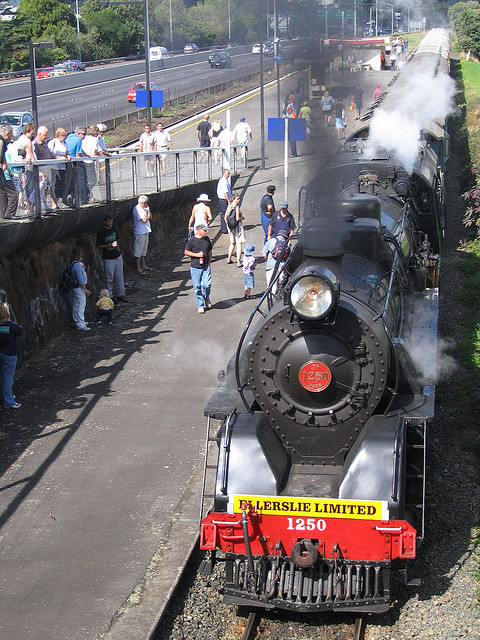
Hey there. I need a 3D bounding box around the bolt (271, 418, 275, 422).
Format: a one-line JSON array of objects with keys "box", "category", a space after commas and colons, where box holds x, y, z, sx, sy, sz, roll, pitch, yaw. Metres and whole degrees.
[{"box": [0.275, 0.833, 5.859, 0.030, 0.039, 0.003, 5, 23, 23], "category": "bolt"}]

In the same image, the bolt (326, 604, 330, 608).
[{"box": [0.629, 2.033, 5.002, 0.022, 0.017, 0.014, -2, 21, 5], "category": "bolt"}]

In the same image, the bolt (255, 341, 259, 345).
[{"box": [0.137, 0.188, 5.803, 0.020, 0.023, 0.020, -1, 31, 7], "category": "bolt"}]

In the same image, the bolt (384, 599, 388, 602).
[{"box": [1.048, 2.001, 5.013, 0.022, 0.017, 0.012, -3, 21, 3], "category": "bolt"}]

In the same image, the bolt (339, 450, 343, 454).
[{"box": [0.832, 1.076, 5.742, 0.030, 0.017, 0.030, 12, -19, -3], "category": "bolt"}]

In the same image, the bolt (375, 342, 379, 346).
[{"box": [1.080, 0.187, 5.502, 0.023, 0.013, 0.023, -9, 19, -25], "category": "bolt"}]

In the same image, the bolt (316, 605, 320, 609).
[{"box": [0.560, 2.041, 5.003, 0.017, 0.019, 0.018, -1, 21, 9], "category": "bolt"}]

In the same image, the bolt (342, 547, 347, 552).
[{"box": [0.766, 1.680, 5.150, 0.026, 0.046, 0.025, 4, 56, 6], "category": "bolt"}]

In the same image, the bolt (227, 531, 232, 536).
[{"box": [-0.080, 1.607, 5.293, 0.029, 0.035, 0.010, 0, 21, 10], "category": "bolt"}]

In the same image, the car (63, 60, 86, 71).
[{"box": [-15.692, -24.176, 66.515, 1.178, 1.042, 2.040, 8, 25, 11], "category": "car"}]

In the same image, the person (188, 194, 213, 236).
[{"box": [-0.888, -2.106, 15.570, 0.542, 1.323, 0.407, 7, 17, 8], "category": "person"}]

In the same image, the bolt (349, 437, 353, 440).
[{"box": [0.902, 0.959, 5.693, 0.024, 0.016, 0.014, -6, 0, 5], "category": "bolt"}]

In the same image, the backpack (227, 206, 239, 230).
[{"box": [-0.172, -2.280, 15.671, 0.328, 0.609, 0.443, -4, 13, 0], "category": "backpack"}]

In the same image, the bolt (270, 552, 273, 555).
[{"box": [0.237, 1.754, 5.282, 0.019, 0.014, 0.007, -3, 21, 3], "category": "bolt"}]

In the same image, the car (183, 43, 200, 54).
[{"box": [-6.197, -34.294, 89.370, 1.478, 1.175, 3.276, 4, 41, 8], "category": "car"}]

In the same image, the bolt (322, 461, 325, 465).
[{"box": [0.697, 1.184, 5.828, 0.016, 0.030, 0.003, -4, 21, 0], "category": "bolt"}]

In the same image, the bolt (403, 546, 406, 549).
[{"box": [1.172, 1.612, 4.982, 0.019, 0.017, 0.012, -5, 21, -4], "category": "bolt"}]

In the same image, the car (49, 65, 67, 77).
[{"box": [-16.365, -22.137, 63.199, 1.242, 1.117, 2.160, 1, 27, 2], "category": "car"}]

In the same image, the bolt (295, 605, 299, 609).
[{"box": [0.410, 2.046, 5.025, 0.029, 0.013, 0.014, 3, 22, 18], "category": "bolt"}]

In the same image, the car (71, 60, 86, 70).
[{"box": [-15.448, -24.041, 66.354, 0.933, 0.812, 1.573, 14, 27, 27], "category": "car"}]

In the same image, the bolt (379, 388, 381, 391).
[{"box": [1.108, 0.544, 5.533, 0.019, 0.019, 0.019, 2, 26, 9], "category": "bolt"}]

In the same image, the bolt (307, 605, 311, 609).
[{"box": [0.494, 2.042, 5.001, 0.018, 0.019, 0.020, 3, -4, 7], "category": "bolt"}]

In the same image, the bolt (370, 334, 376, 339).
[{"box": [1.046, 0.127, 5.502, 0.044, 0.027, 0.029, -16, 17, -17], "category": "bolt"}]

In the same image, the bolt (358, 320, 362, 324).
[{"box": [0.943, 0.016, 5.505, 0.020, 0.019, 0.019, -6, 29, -12], "category": "bolt"}]

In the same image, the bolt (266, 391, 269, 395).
[{"box": [0.234, 0.600, 5.794, 0.017, 0.016, 0.044, -8, 21, -12], "category": "bolt"}]

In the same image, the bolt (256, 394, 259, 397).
[{"box": [0.145, 0.625, 5.872, 0.024, 0.019, 0.028, -4, -5, 23], "category": "bolt"}]

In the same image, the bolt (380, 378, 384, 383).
[{"box": [1.123, 0.471, 5.519, 0.043, 0.038, 0.030, -1, -2, 7], "category": "bolt"}]

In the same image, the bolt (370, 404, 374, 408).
[{"box": [1.057, 0.680, 5.588, 0.022, 0.016, 0.031, -1, 4, 7], "category": "bolt"}]

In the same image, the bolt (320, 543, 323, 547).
[{"box": [0.602, 1.656, 5.176, 0.018, 0.030, 0.006, 0, 21, 11], "category": "bolt"}]

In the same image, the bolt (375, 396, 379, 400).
[{"box": [1.090, 0.613, 5.556, 0.021, 0.023, 0.035, 35, -8, 6], "category": "bolt"}]

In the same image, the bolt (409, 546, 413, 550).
[{"box": [1.213, 1.606, 4.957, 0.025, 0.024, 0.013, 7, 23, 26], "category": "bolt"}]

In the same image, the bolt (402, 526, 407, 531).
[{"box": [1.175, 1.473, 4.973, 0.026, 0.036, 0.004, 0, 21, 10], "category": "bolt"}]

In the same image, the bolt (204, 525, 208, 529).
[{"box": [-0.257, 1.554, 5.282, 0.024, 0.037, 0.004, -7, 21, -8], "category": "bolt"}]

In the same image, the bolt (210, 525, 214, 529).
[{"box": [-0.212, 1.551, 5.274, 0.032, 0.031, 0.011, 5, 6, -1], "category": "bolt"}]

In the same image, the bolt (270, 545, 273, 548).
[{"box": [0.237, 1.698, 5.278, 0.020, 0.022, 0.009, -2, 21, 6], "category": "bolt"}]

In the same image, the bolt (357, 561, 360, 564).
[{"box": [0.868, 1.763, 5.112, 0.014, 0.016, 0.010, -4, 21, 0], "category": "bolt"}]

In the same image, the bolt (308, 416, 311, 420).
[{"box": [0.567, 0.791, 5.699, 0.018, 0.017, 0.018, -11, 23, -35], "category": "bolt"}]

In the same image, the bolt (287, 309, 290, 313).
[{"box": [0.394, -0.074, 5.667, 0.021, 0.028, 0.003, 16, 29, 42], "category": "bolt"}]

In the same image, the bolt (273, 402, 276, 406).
[{"box": [0.288, 0.685, 5.793, 0.028, 0.028, 0.035, 2, 3, 2], "category": "bolt"}]

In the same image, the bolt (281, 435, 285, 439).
[{"box": [0.360, 0.974, 5.867, 0.027, 0.034, 0.006, 4, 22, 20], "category": "bolt"}]

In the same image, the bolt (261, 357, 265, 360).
[{"box": [0.190, 0.316, 5.795, 0.020, 0.034, 0.022, 4, 5, 19], "category": "bolt"}]

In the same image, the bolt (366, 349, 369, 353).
[{"box": [1.004, 0.241, 5.522, 0.021, 0.028, 0.008, 6, -7, 12], "category": "bolt"}]

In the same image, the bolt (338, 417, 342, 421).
[{"box": [0.809, 0.789, 5.655, 0.020, 0.028, 0.008, 2, 10, 15], "category": "bolt"}]

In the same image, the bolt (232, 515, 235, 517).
[{"box": [-0.048, 1.460, 5.241, 0.016, 0.015, 0.004, -2, -7, 12], "category": "bolt"}]

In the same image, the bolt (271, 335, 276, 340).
[{"box": [0.276, 0.137, 5.725, 0.024, 0.022, 0.036, 3, -12, 5], "category": "bolt"}]

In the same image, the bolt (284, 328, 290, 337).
[{"box": [0.381, 0.102, 5.661, 0.028, 0.054, 0.013, -30, -6, 32], "category": "bolt"}]
